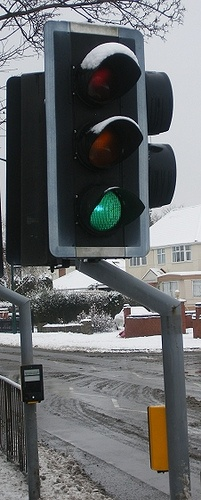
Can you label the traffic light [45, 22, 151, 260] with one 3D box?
[{"bbox_3d":[0.003,-0.398,1.809,0.400,0.858,0.261,-1,1,-9],"label":"traffic light"}]
